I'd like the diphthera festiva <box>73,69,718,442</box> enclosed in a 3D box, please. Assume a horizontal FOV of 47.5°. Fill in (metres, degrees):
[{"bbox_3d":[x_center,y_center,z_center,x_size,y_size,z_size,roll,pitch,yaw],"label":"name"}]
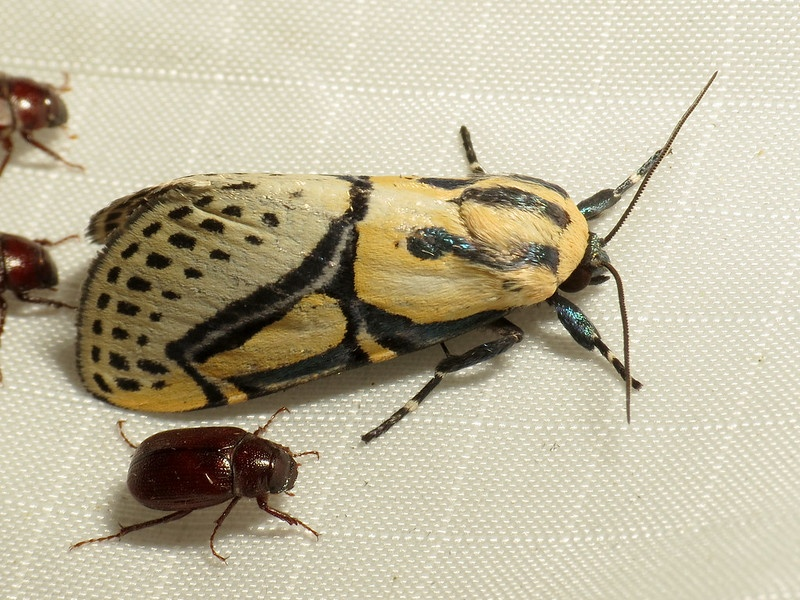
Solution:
[{"bbox_3d":[-0.334,-0.027,3.714,1.871,1.010,0.777,-1,55,-14],"label":"diphthera festiva"}]
